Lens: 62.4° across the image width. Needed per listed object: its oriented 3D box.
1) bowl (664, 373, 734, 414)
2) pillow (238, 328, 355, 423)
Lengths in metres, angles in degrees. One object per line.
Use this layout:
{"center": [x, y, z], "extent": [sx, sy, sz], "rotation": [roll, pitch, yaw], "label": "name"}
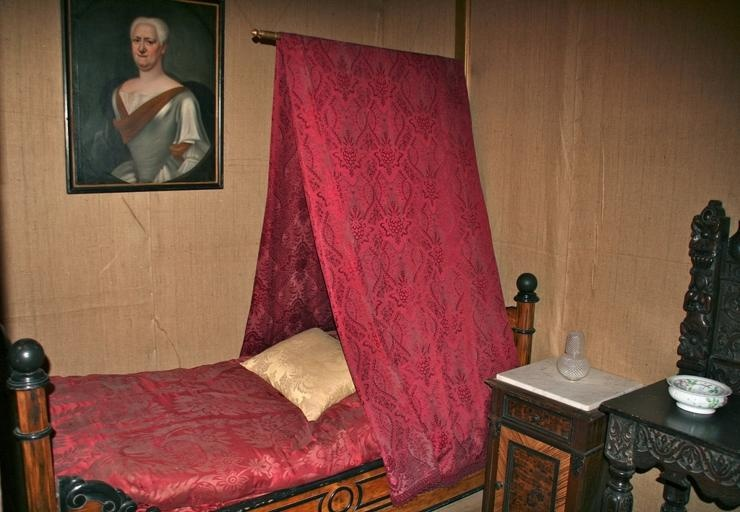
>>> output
{"center": [1.562, 0.650, 2.915], "extent": [0.194, 0.085, 0.196], "rotation": [0, 12, 0], "label": "bowl"}
{"center": [-0.365, 0.707, 3.603], "extent": [0.473, 0.143, 0.504], "rotation": [-29, 38, -24], "label": "pillow"}
